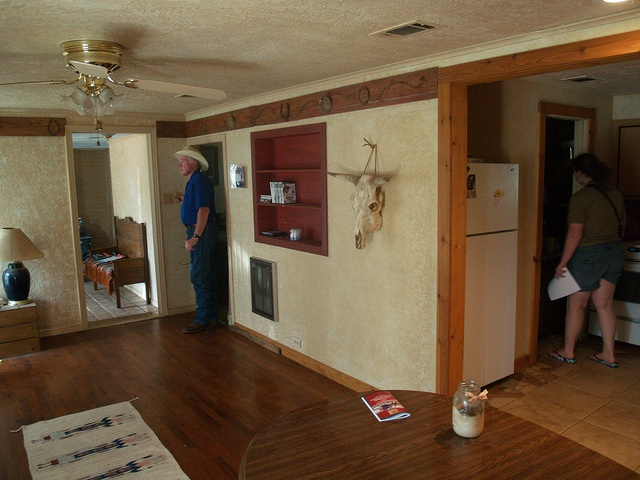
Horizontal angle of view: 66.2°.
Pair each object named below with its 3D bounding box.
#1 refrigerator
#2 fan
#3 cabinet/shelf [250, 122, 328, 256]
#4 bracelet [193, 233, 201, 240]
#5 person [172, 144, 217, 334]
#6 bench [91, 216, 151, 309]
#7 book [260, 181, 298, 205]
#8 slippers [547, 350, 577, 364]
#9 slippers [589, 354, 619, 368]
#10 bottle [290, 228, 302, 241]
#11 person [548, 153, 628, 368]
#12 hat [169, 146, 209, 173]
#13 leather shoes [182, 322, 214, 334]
[{"bbox_3d":[1.440,0.298,4.156,0.868,1.910,0.287,-15,20,-42],"label":"refrigerator"},{"bbox_3d":[-1.379,-1.095,3.125,0.746,0.133,0.691,-3,2,-42],"label":"fan"},{"bbox_3d":[-0.289,-0.540,5.022,0.476,1.250,1.214,-11,17,-32],"label":"cabinet/shelf"},{"bbox_3d":[-1.442,-0.046,5.659,0.075,0.040,0.097,10,-5,-33],"label":"bracelet"},{"bbox_3d":[-1.488,0.003,5.837,0.494,2.184,0.538,-4,15,-8],"label":"person"},{"bbox_3d":[-2.958,0.363,7.233,0.562,1.015,1.478,-4,8,-35],"label":"bench"},{"bbox_3d":[-0.478,-0.501,5.182,0.428,0.239,0.291,2,14,13],"label":"book"},{"bbox_3d":[2.419,1.144,4.858,0.093,0.049,0.211,-3,12,-39],"label":"slippers"},{"bbox_3d":[2.767,1.160,4.747,0.079,0.043,0.185,-1,15,-42],"label":"slippers"},{"bbox_3d":[-0.256,-0.050,5.061,0.133,0.095,0.115,0,7,10],"label":"bottle"},{"bbox_3d":[2.611,0.201,4.680,0.619,2.006,0.427,4,16,22],"label":"person"},{"bbox_3d":[-1.561,-0.971,5.833,0.362,0.284,0.352,-5,14,-15],"label":"hat"},{"bbox_3d":[-1.498,1.060,5.949,0.328,0.119,0.122,2,0,-31],"label":"leather shoes"}]
